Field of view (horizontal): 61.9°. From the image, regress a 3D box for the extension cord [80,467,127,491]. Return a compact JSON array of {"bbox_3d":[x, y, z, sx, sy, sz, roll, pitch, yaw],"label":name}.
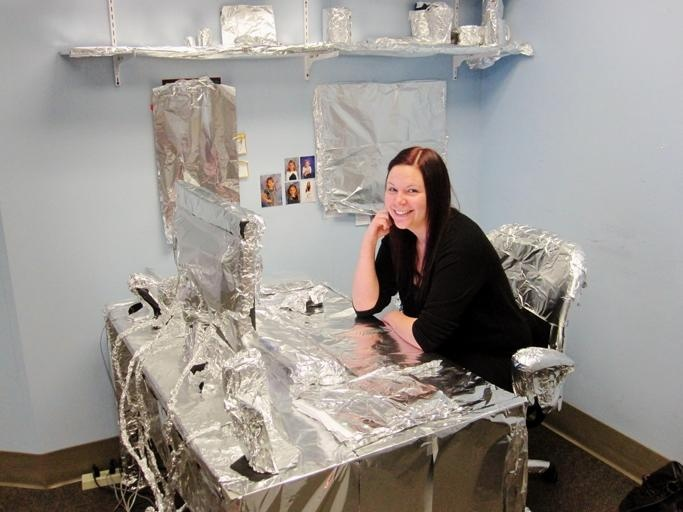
[{"bbox_3d":[-1.139,1.062,2.684,0.146,0.037,0.135,-3,15,-17],"label":"extension cord"}]
